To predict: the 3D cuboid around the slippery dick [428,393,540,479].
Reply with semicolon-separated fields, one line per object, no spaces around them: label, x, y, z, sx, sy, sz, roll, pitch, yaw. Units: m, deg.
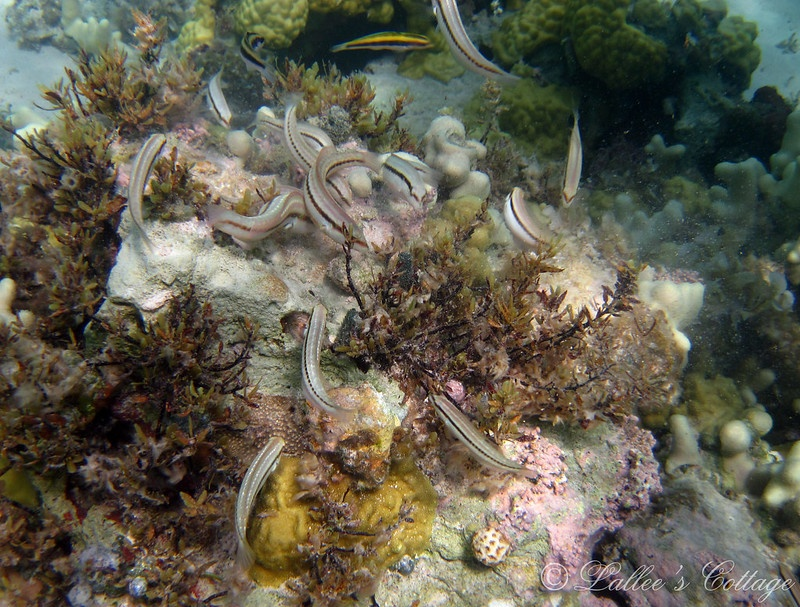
slippery dick;1.004;1.697;10.531;1.060;0.174;0.409;53;5;6
